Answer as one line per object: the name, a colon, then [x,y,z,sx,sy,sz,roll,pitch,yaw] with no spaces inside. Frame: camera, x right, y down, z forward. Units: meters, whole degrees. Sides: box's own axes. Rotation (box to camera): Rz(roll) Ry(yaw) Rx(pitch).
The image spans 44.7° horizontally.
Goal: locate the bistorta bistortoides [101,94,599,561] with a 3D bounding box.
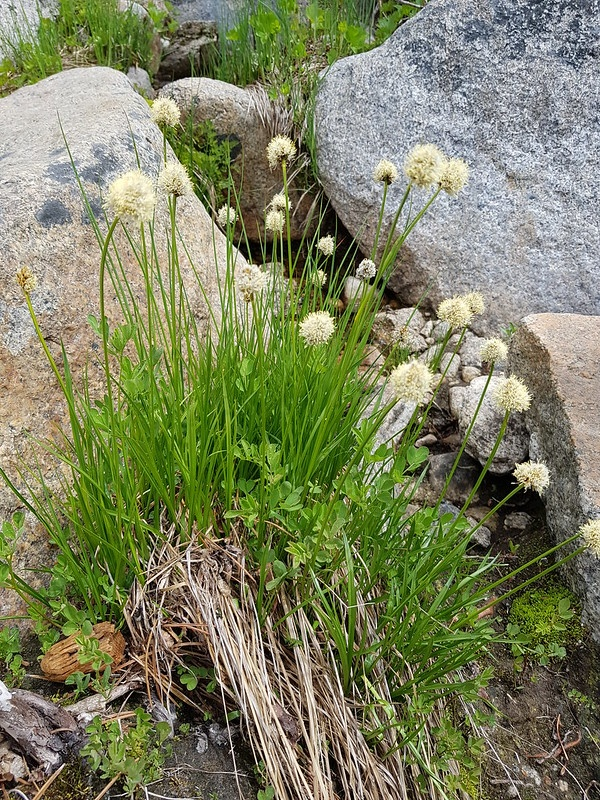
bistorta bistortoides: [0.311,-0.299,2.769,1.780,0.596,1.127,41,50,17]
